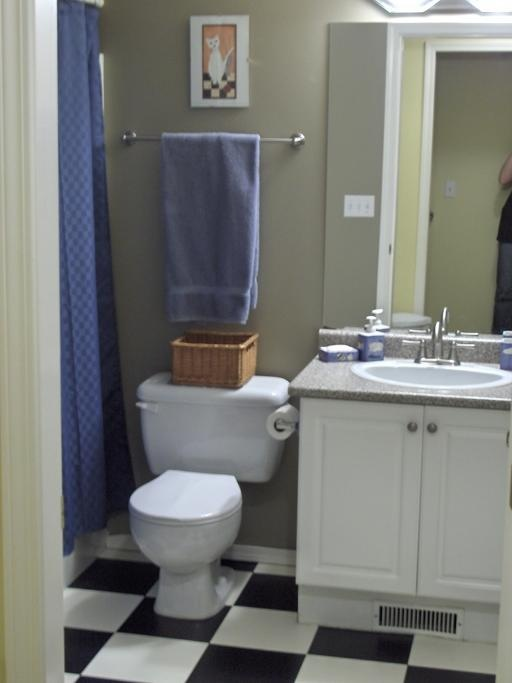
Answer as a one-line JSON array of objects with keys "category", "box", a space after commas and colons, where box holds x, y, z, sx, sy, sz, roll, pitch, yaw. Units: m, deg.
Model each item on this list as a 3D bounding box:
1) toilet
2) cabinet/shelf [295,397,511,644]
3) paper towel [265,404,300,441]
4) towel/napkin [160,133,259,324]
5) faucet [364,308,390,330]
[{"category": "toilet", "box": [-0.215, 0.514, 2.149, 0.444, 0.713, 0.676, 3, 8, 12]}, {"category": "cabinet/shelf", "box": [0.416, 0.469, 1.777, 0.580, 0.758, 0.362, 1, 4, 12]}, {"category": "paper towel", "box": [0.065, 0.239, 2.065, 0.095, 0.104, 0.120, 17, 16, 17]}, {"category": "towel/napkin", "box": [-0.170, -0.425, 2.264, 0.342, 0.747, 0.115, -3, 41, -9]}, {"category": "faucet", "box": [0.411, -0.080, 2.208, 0.072, 0.085, 0.074, 2, 2, 42]}]
